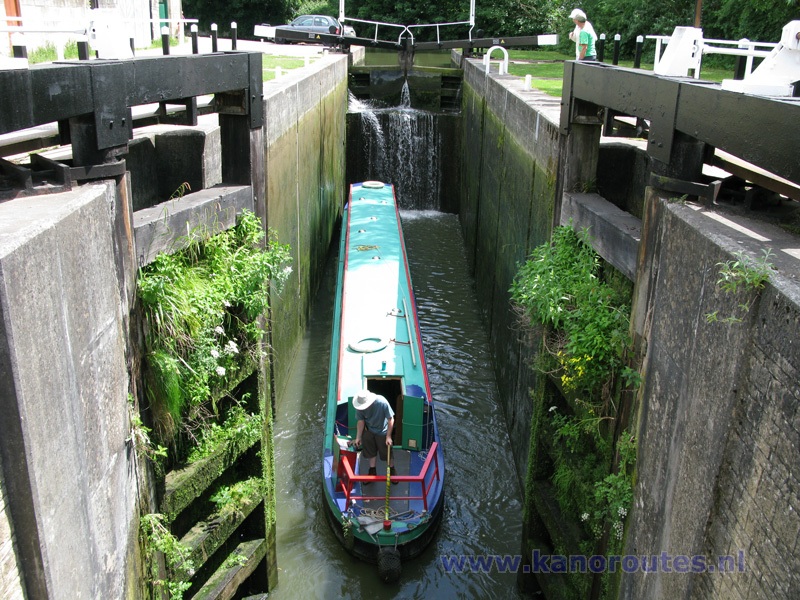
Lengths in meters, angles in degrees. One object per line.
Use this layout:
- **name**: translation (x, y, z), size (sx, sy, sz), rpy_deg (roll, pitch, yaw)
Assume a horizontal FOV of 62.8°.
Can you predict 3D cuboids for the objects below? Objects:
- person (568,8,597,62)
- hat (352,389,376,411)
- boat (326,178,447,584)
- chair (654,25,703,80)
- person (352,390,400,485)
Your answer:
- **person**: translation (3.183, -4.598, 11.402), size (0.459, 0.810, 2.406), rpy_deg (4, 24, 14)
- **hat**: translation (-0.484, 1.415, 9.116), size (0.311, 0.325, 0.238), rpy_deg (2, 21, 8)
- **boat**: translation (-0.359, 0.497, 11.640), size (1.173, 1.714, 7.951), rpy_deg (0, 47, -3)
- **chair**: translation (2.786, -2.450, 6.507), size (0.360, 0.444, 0.391), rpy_deg (10, 21, 16)
- **person**: translation (-0.368, 1.953, 9.370), size (0.607, 1.521, 0.605), rpy_deg (5, 21, 17)
